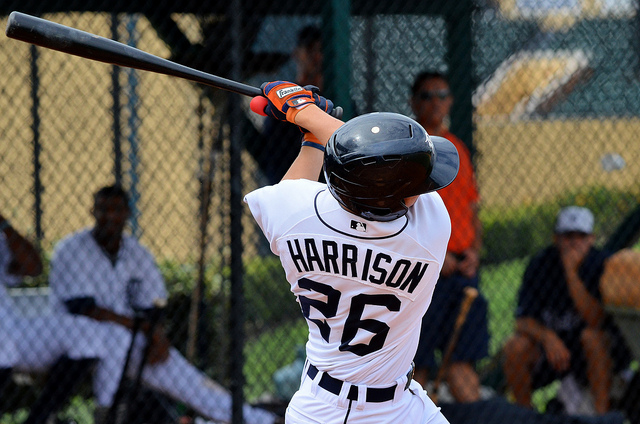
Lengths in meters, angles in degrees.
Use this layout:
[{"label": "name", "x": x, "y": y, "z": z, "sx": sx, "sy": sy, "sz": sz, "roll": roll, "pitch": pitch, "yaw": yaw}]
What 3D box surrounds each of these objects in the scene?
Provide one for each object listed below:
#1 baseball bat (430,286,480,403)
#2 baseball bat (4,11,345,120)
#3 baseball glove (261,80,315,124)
[{"label": "baseball bat", "x": 0.886, "y": 0.835, "z": 5.912, "sx": 0.104, "sy": 0.861, "sz": 0.103, "roll": 20, "pitch": 8, "yaw": 7}, {"label": "baseball bat", "x": -0.910, "y": -0.842, "z": 5.207, "sx": 1.615, "sy": 0.219, "sz": 0.171, "roll": 22, "pitch": -10, "yaw": -21}, {"label": "baseball glove", "x": -0.159, "y": -0.586, "z": 4.687, "sx": 0.201, "sy": 0.102, "sz": 0.231, "roll": 5, "pitch": 38, "yaw": -25}]
